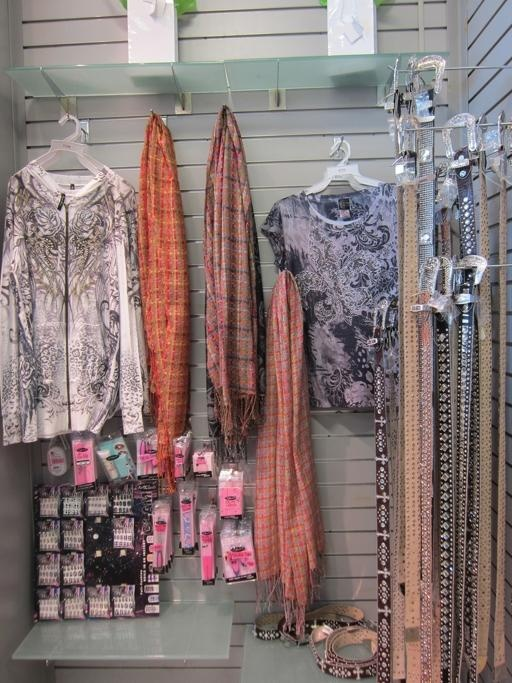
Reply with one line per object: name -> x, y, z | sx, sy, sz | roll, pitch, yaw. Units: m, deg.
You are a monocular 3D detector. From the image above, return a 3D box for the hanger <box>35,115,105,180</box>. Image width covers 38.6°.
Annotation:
hanger -> -0.641, -0.660, 2.474 | 0.239, 0.246, 0.256 | -3, -4, -14

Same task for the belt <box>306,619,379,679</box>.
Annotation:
belt -> 0.291, 1.009, 2.394 | 0.221, 0.121, 0.195 | -4, -4, 2

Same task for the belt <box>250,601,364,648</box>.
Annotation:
belt -> 0.183, 0.967, 2.525 | 0.278, 0.047, 0.150 | -3, 1, -16

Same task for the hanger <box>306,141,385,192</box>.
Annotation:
hanger -> 0.312, -0.611, 2.513 | 0.200, 0.129, 0.058 | 0, 15, 2
